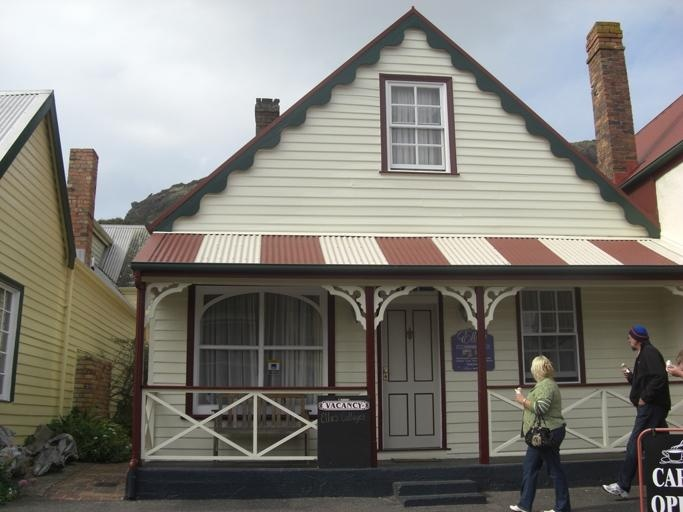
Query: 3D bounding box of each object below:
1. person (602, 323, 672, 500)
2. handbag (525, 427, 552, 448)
[{"bbox_3d":[4.640,2.379,10.634,0.639,2.470,1.033,0,-18,-1],"label":"person"},{"bbox_3d":[2.820,2.576,9.819,0.282,0.267,0.151,-4,-21,33],"label":"handbag"}]
